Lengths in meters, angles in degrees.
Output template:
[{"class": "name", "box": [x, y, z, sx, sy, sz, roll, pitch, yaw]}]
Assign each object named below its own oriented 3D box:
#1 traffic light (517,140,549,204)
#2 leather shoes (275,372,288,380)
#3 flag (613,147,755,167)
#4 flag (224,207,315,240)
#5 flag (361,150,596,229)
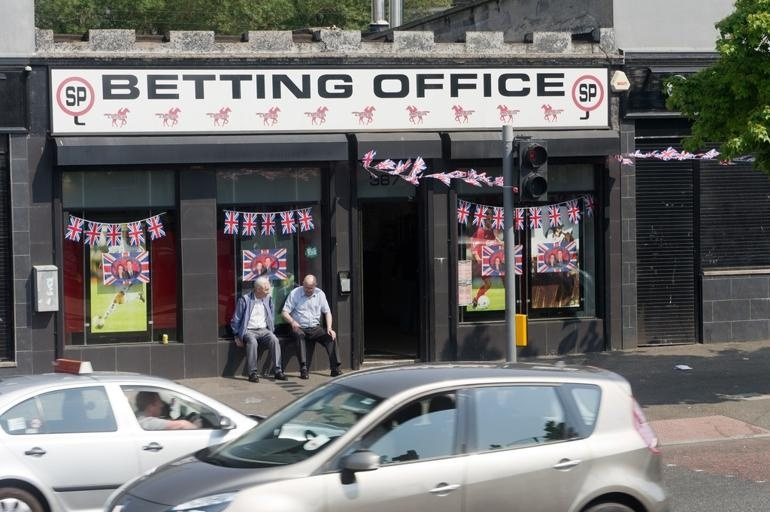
[{"class": "traffic light", "box": [2.697, -1.560, 30.266, 0.518, 1.081, 0.263, -2, -2, -8]}, {"class": "leather shoes", "box": [-2.114, 2.442, 33.518, 0.304, 0.122, 0.115, -1, 1, 41]}, {"class": "flag", "box": [6.179, -2.099, 34.728, 3.002, 0.423, 0.499, -2, -1, 10]}, {"class": "flag", "box": [-2.425, -0.694, 34.082, 1.868, 0.555, 0.276, -2, -2, -6]}, {"class": "flag", "box": [1.968, -1.374, 34.713, 5.042, 1.709, 1.117, -2, -2, -20]}]
